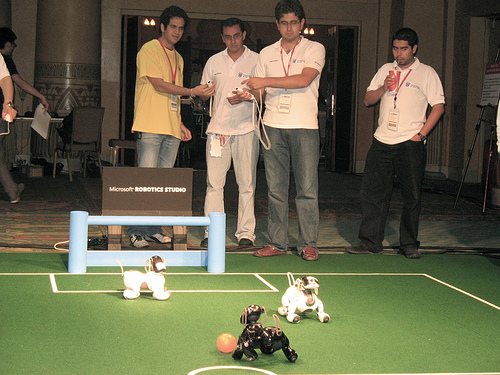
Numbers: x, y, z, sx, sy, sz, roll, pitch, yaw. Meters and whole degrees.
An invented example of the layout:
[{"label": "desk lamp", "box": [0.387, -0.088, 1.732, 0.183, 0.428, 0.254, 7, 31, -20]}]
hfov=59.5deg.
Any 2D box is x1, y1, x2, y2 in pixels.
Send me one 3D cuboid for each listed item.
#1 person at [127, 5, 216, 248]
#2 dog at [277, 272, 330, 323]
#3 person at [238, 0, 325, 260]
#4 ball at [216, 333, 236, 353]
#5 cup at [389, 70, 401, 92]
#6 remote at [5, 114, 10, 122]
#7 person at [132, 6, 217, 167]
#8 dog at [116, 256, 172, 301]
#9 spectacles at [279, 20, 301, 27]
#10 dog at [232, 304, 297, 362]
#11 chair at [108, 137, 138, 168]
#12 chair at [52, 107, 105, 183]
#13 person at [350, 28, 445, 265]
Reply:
[{"label": "person", "box": [-0.796, -0.575, 4.059, 0.686, 2.167, 0.649, -1, 7, -17]}, {"label": "dog", "box": [0.316, 0.624, 2.543, 0.251, 0.279, 0.353, 1, -6, -12]}, {"label": "person", "box": [0.316, -0.489, 3.883, 0.658, 2.229, 0.514, 2, 7, 9]}, {"label": "ball", "box": [-0.104, 0.709, 1.983, 0.084, 0.081, 0.067, 0, 7, -5]}, {"label": "cup", "box": [1.297, -0.950, 3.907, 0.121, 0.194, 0.085, -5, 9, -41]}, {"label": "remote", "box": [-2.087, -0.601, 3.779, 0.014, 0.048, 0.035, -9, -17, 34]}, {"label": "person", "box": [-0.768, -0.909, 4.036, 0.618, 1.450, 0.471, -1, 7, -16]}, {"label": "dog", "box": [-0.663, 0.573, 2.783, 0.318, 0.251, 0.218, 0, 2, -9]}, {"label": "spectacles", "box": [0.343, -1.371, 3.664, 0.168, 0.055, 0.052, 1, 7, 0]}, {"label": "dog", "box": [0.050, 0.668, 2.002, 0.234, 0.254, 0.273, 13, -20, -43]}, {"label": "chair", "box": [-2.319, -0.663, 8.249, 0.493, 0.650, 0.430, -3, 18, -8]}, {"label": "chair", "box": [-3.534, -0.911, 9.027, 0.930, 1.451, 1.555, -2, 8, -24]}, {"label": "person", "box": [1.336, -0.379, 3.945, 0.706, 2.019, 0.342, 4, 7, 24]}]
